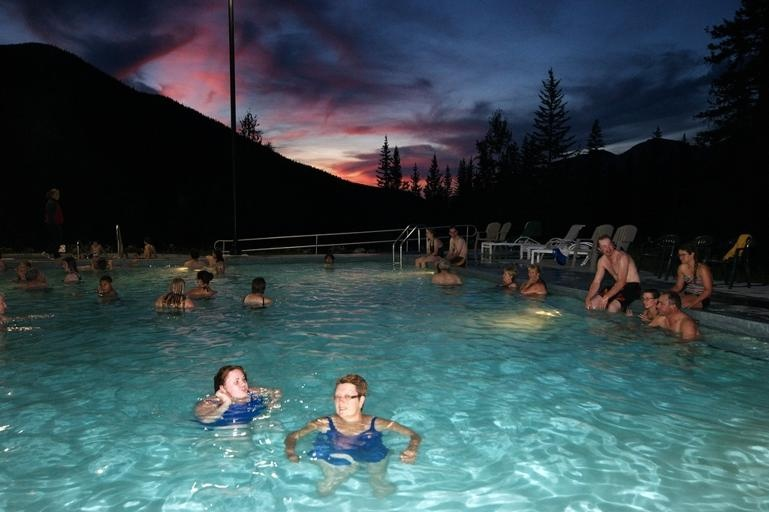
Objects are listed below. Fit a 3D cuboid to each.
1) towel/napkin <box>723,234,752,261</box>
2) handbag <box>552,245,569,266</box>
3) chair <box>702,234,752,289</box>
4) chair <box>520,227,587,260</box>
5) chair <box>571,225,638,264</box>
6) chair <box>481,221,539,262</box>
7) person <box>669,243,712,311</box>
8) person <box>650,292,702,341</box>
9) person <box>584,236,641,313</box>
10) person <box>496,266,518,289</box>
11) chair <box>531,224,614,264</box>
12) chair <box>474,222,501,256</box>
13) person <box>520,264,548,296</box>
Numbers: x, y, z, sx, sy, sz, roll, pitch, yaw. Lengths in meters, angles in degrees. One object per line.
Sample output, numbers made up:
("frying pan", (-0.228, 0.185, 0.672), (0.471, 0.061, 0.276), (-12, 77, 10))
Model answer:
("towel/napkin", (7.828, -0.200, 10.414), (0.392, 0.566, 0.985), (8, 15, 35))
("handbag", (5.394, -0.031, 14.445), (0.292, 0.707, 1.178), (4, 13, 23))
("chair", (7.659, 0.026, 10.436), (0.851, 1.055, 0.668), (-4, 12, -7))
("chair", (5.747, -0.361, 15.553), (2.293, 1.342, 1.270), (-1, 2, 9))
("chair", (6.358, -0.326, 14.512), (1.437, 1.310, 0.973), (9, 9, 21))
("chair", (4.914, -0.631, 18.479), (1.975, 1.153, 1.105), (-4, 9, -4))
("person", (5.722, 0.379, 8.981), (1.034, 1.133, 1.008), (5, 10, 26))
("person", (5.080, 1.074, 8.283), (0.758, 0.619, 1.110), (1, 5, 10))
("person", (4.638, 0.338, 9.480), (1.010, 1.565, 0.632), (3, 14, 21))
("person", (3.254, 0.602, 12.335), (0.508, 0.586, 0.724), (7, 2, 15))
("chair", (5.978, -0.320, 15.170), (2.533, 1.510, 1.606), (3, 5, 38))
("chair", (4.156, -0.731, 18.770), (0.907, 1.123, 0.923), (6, 8, 28))
("person", (3.772, 0.546, 11.475), (0.733, 0.723, 0.858), (6, 0, -1))
